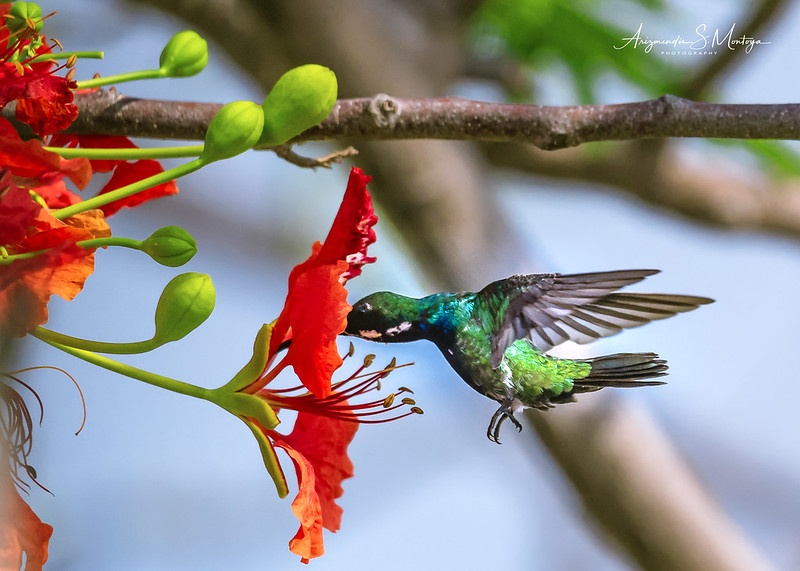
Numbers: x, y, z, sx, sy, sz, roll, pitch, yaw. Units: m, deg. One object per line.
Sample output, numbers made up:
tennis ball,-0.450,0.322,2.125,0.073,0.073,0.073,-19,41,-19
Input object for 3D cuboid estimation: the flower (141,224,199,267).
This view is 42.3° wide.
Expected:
flower,-0.372,-0.057,1.616,0.114,0.063,0.060,6,2,11

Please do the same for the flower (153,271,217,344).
flower,-0.305,0.030,1.462,0.111,0.063,0.040,-43,-5,5

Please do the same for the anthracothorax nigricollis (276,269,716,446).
anthracothorax nigricollis,0.192,0.142,2.014,0.722,0.318,0.244,-5,-4,0
